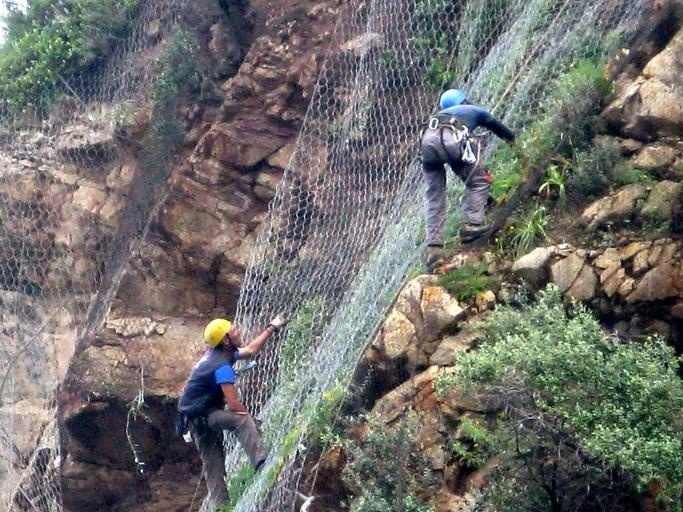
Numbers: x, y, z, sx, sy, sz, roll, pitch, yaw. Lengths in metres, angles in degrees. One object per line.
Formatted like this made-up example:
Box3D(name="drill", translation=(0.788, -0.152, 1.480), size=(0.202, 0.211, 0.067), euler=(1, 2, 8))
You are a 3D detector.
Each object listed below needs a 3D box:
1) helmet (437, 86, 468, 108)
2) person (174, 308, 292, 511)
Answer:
Box3D(name="helmet", translation=(1.529, -2.179, 21.957), size=(0.252, 0.287, 0.257), euler=(62, 4, -14))
Box3D(name="person", translation=(-1.611, 2.053, 21.668), size=(1.220, 2.627, 0.620), euler=(18, 3, -4))
